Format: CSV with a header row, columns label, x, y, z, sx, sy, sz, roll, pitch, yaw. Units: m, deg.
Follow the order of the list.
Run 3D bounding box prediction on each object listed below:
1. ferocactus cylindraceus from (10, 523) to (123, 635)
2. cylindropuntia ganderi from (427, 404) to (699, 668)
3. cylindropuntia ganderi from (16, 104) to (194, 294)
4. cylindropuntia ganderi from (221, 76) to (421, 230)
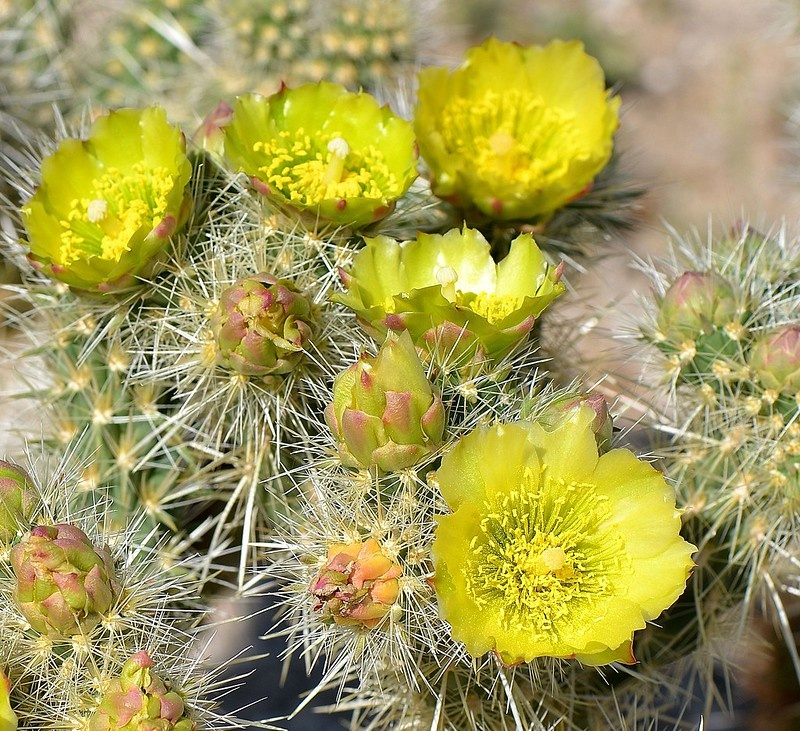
label,x,y,z,sx,sy,sz,roll,pitch,yaw
ferocactus cylindraceus,-0.300,0.188,0.777,0.072,0.093,0.094,-15,73,-2
cylindropuntia ganderi,0.137,0.138,0.739,0.218,0.093,0.211,1,72,2
cylindropuntia ganderi,-0.307,-0.180,0.932,0.166,0.098,0.210,15,73,7
cylindropuntia ganderi,-0.079,-0.227,0.945,0.195,0.116,0.162,-4,72,1
